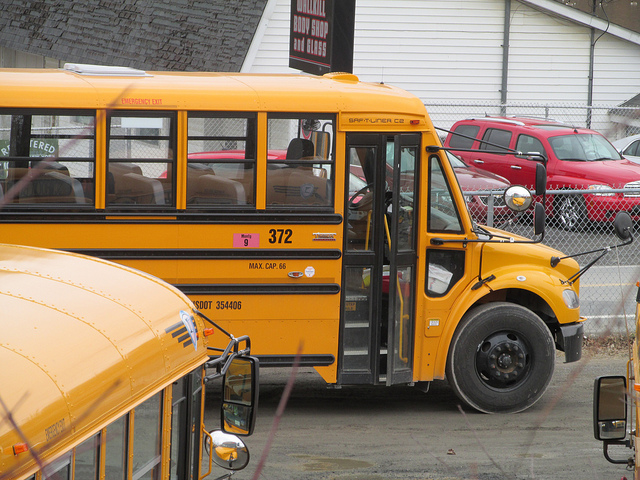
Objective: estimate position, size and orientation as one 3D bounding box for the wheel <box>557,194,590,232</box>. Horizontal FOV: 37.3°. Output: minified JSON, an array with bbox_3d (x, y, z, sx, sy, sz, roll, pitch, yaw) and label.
[{"bbox_3d":[4.434,-0.461,16.548,0.559,0.759,0.256,2,39,23],"label":"wheel"}]

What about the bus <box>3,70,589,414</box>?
[{"bbox_3d":[-0.475,-0.407,11.266,7.290,3.332,2.748,-1,12,-9],"label":"bus"}]

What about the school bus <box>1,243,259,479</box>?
[{"bbox_3d":[-1.357,0.981,5.903,0.929,1.485,2.023,9,13,35],"label":"school bus"}]

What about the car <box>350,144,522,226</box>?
[{"bbox_3d":[1.797,-0.653,12.851,1.457,1.012,3.114,-2,6,-32],"label":"car"}]
